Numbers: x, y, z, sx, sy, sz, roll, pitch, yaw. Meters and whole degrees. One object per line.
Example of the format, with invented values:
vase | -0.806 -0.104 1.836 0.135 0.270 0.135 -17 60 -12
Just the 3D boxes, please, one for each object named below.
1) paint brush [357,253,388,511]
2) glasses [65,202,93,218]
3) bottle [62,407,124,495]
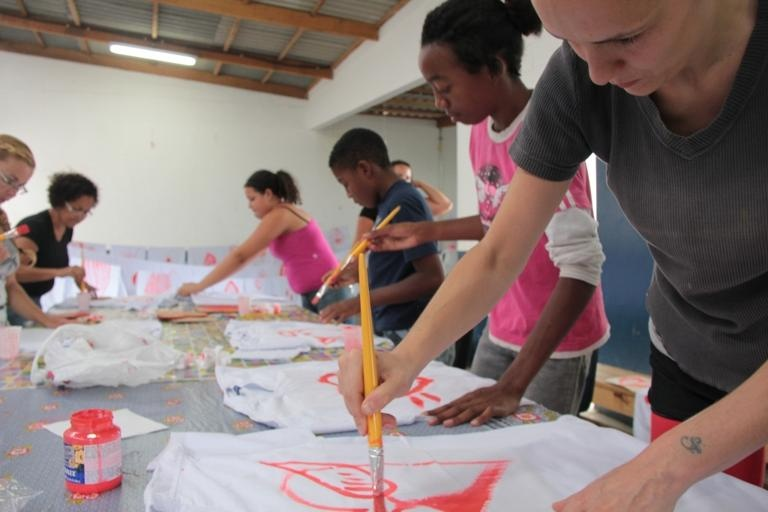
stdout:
paint brush | -0.036 0.269 1.159 0.043 0.571 0.047 -8 -18 17
glasses | -1.942 -0.284 3.473 0.104 0.063 0.134 -2 0 -38
bottle | -0.639 0.425 1.221 0.115 0.164 0.125 2 5 0
